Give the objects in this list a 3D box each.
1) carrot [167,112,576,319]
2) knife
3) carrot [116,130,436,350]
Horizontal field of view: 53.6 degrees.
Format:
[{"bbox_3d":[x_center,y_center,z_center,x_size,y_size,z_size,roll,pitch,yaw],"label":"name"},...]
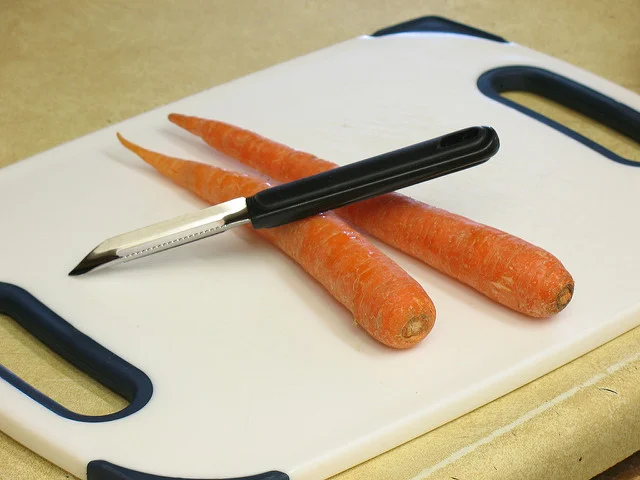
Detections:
[{"bbox_3d":[0.082,-0.029,0.985,0.640,0.088,0.089,25,1,20],"label":"carrot"},{"bbox_3d":[-0.057,-0.056,1.012,0.628,0.080,0.062,-18,26,3],"label":"knife"},{"bbox_3d":[-0.069,0.010,0.961,0.585,0.096,0.094,29,2,24],"label":"carrot"}]
